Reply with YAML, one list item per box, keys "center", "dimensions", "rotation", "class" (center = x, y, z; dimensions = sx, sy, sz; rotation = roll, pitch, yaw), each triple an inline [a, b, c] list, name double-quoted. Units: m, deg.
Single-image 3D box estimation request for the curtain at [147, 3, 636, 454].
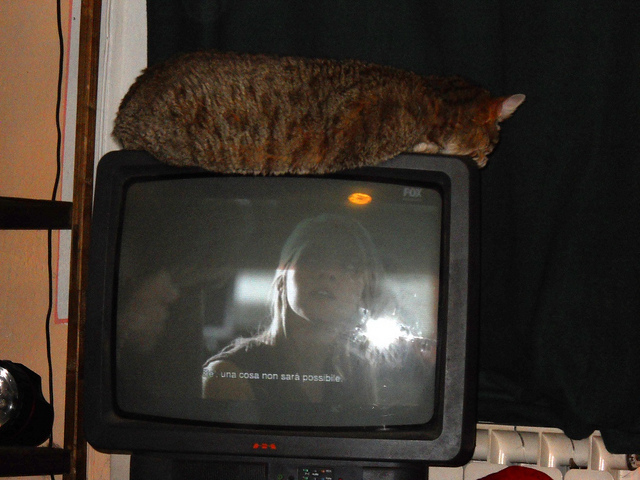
- center: [0.204, 0.010, 1.922]
  dimensions: [0.956, 0.138, 1.223]
  rotation: [4, 95, 0]
  class: "curtain"
